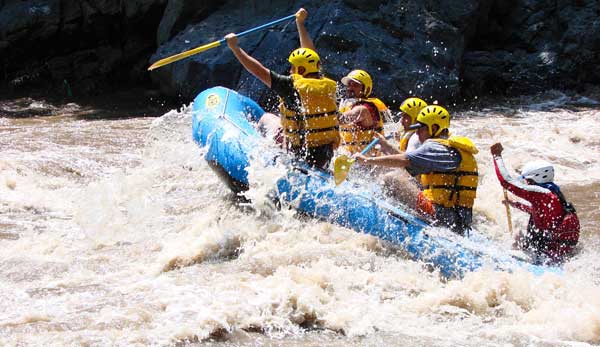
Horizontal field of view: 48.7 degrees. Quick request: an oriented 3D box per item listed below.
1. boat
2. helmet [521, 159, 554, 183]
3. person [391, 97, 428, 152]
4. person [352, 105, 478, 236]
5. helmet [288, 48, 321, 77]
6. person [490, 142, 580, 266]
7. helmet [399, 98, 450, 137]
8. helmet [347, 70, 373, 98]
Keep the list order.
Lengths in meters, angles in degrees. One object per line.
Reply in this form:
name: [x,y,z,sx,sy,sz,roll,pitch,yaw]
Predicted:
boat: [0.739,0.059,10.797,7.048,1.509,2.265,26,0,12]
helmet: [3.551,-0.050,9.958,0.400,0.329,0.359,-23,-12,33]
person: [1.921,-0.849,10.810,0.624,0.930,0.561,1,-7,23]
person: [1.927,-0.120,9.997,1.430,1.924,0.619,4,12,11]
helmet: [0.104,-1.869,10.471,0.529,0.401,0.397,2,15,35]
person: [3.517,0.427,9.872,1.203,1.650,0.322,7,13,24]
helmet: [1.928,-0.913,10.159,0.603,0.403,0.423,-10,10,5]
helmet: [0.980,-1.592,11.086,0.542,0.410,0.383,-9,21,-27]
